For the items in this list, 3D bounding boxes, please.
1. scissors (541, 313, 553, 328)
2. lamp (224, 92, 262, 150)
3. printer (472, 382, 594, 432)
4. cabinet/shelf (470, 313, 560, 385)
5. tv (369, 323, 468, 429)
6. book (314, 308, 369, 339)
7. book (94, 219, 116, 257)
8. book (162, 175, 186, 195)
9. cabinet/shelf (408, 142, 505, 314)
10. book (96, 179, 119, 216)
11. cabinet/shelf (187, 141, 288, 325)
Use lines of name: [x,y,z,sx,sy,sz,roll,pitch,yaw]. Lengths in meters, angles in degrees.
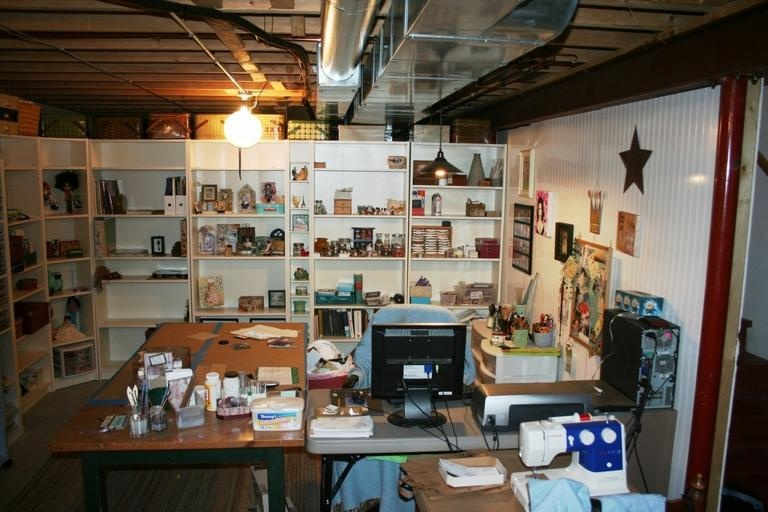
scissors: [1.686,0.681,6.178,0.087,0.152,0.153,0,-2,-18]
lamp: [-1.410,-1.363,5.861,0.511,0.489,0.501,-2,1,-13]
printer: [1.231,1.185,4.301,0.919,0.287,0.432,-15,-23,40]
cabinet/shelf: [1.393,1.276,6.677,0.651,0.803,1.187,0,10,-1]
tv: [0.249,0.888,4.329,0.707,0.658,0.382,0,15,-3]
book: [-0.544,0.691,7.449,0.682,0.605,0.390,3,9,0]
book: [-3.461,-0.251,7.290,0.140,0.473,0.414,0,5,7]
book: [-2.596,-0.880,7.317,0.305,0.290,0.218,3,12,0]
cabinet/shelf: [0.914,-0.654,7.672,0.880,0.418,1.657,14,50,7]
book: [-3.375,-0.742,7.219,0.174,0.425,0.295,3,6,28]
cabinet/shelf: [-1.850,-0.329,7.406,1.241,2.256,0.358,0,5,-4]
